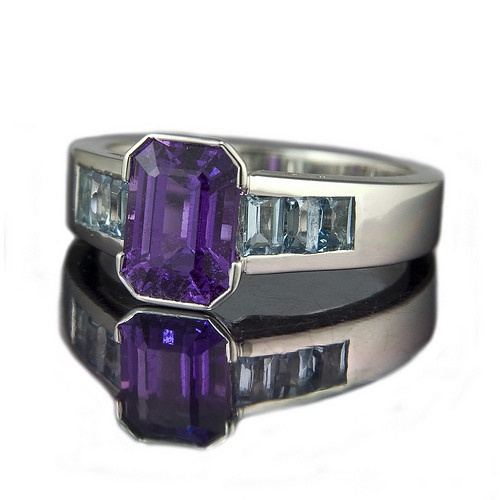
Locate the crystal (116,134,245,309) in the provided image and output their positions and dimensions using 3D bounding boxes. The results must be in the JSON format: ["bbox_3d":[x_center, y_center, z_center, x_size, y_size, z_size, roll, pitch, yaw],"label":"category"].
[{"bbox_3d":[-0.146,-0.057,1.158,0.278,0.359,0.052,0,8,22],"label":"crystal"}]

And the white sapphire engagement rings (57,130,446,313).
[{"bbox_3d":[-0.004,-0.158,1.560,0.932,0.321,0.912,4,14,-1],"label":"white sapphire engagement rings"}]

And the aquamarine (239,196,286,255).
[{"bbox_3d":[0.028,-0.053,1.190,0.097,0.129,0.023,-3,7,-2],"label":"aquamarine"}]

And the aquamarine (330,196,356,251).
[{"bbox_3d":[0.209,-0.059,1.234,0.085,0.098,0.042,2,3,6],"label":"aquamarine"}]
